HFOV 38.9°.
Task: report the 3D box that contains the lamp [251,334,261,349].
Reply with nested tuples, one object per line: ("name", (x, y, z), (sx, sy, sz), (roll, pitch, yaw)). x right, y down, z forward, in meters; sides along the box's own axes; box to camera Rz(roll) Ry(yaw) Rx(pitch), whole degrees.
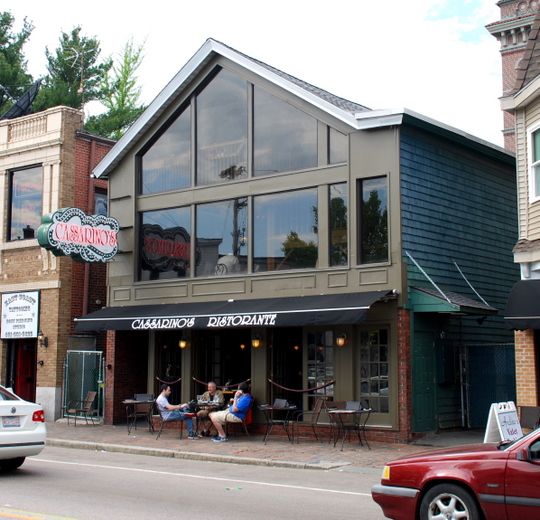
("lamp", (-0.333, 2.102, 19.838), (0.260, 0.258, 0.256), (-1, -11, 13))

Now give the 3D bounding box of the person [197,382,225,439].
("person", (-1.544, 3.740, 19.315), (0.677, 1.288, 0.801), (5, -5, 17))

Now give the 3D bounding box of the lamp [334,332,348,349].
("lamp", (1.728, 1.933, 18.363), (0.306, 0.467, 0.315), (1, 0, -37))

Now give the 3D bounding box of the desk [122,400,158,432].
("desk", (-3.395, 4.122, 20.412), (1.146, 0.767, 1.149), (-8, -8, 41))

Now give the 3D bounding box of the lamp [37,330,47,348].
("lamp", (-7.058, 2.494, 23.946), (0.276, 0.515, 0.383), (-13, 10, -30))

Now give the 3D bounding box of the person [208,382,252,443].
("person", (-0.917, 3.629, 18.533), (0.826, 1.497, 0.686), (10, -4, -5))

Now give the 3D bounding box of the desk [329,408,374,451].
("desk", (1.872, 3.858, 17.631), (0.958, 0.959, 0.985), (1, -13, -1))

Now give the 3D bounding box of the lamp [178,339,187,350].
("lamp", (-2.410, 2.345, 21.414), (0.241, 0.273, 0.247), (-7, -16, 34))

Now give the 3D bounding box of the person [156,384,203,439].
("person", (-2.372, 3.810, 19.280), (0.879, 1.279, 1.722), (-10, 9, -10))
